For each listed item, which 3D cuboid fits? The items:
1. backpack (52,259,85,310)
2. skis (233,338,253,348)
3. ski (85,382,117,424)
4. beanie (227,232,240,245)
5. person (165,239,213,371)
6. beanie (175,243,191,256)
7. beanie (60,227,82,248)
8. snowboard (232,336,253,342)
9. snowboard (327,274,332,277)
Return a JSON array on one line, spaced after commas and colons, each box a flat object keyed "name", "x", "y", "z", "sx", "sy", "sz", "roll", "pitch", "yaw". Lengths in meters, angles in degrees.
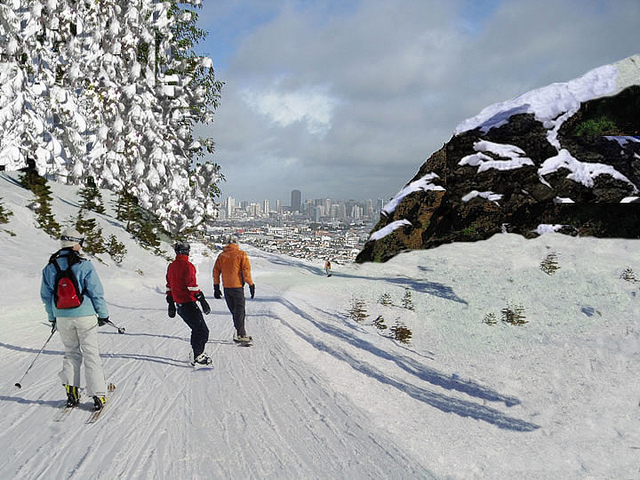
[{"name": "backpack", "x": -5.478, "y": 1.000, "z": 9.943, "sx": 0.708, "sy": 1.024, "sz": 0.253, "roll": 10, "pitch": 13, "yaw": 13}, {"name": "skis", "x": -2.184, "y": 2.939, "z": 13.157, "sx": 0.546, "sy": 0.232, "sz": 0.185, "roll": 5, "pitch": 3, "yaw": 19}, {"name": "ski", "x": -4.838, "y": 3.665, "z": 10.289, "sx": 0.132, "sy": 0.096, "sz": 0.918, "roll": -10, "pitch": 39, "yaw": 31}, {"name": "beanie", "x": -2.414, "y": -0.046, "z": 12.903, "sx": 0.287, "sy": 0.279, "sz": 0.409, "roll": 9, "pitch": 13, "yaw": 7}, {"name": "person", "x": -3.358, "y": 1.673, "z": 11.816, "sx": 1.497, "sy": 2.970, "sz": 1.054, "roll": 0, "pitch": 1, "yaw": -37}, {"name": "beanie", "x": -3.387, "y": 0.206, "z": 11.303, "sx": 0.266, "sy": 0.301, "sz": 0.307, "roll": 7, "pitch": 14, "yaw": 24}, {"name": "beanie", "x": -5.505, "y": -0.026, "z": 10.187, "sx": 0.375, "sy": 0.479, "sz": 0.447, "roll": -1, "pitch": 15, "yaw": -31}, {"name": "snowboard", "x": -2.196, "y": 2.827, "z": 13.165, "sx": 0.451, "sy": 0.196, "sz": 0.168, "roll": -4, "pitch": -6, "yaw": 2}, {"name": "snowboard", "x": 0.505, "y": 2.193, "z": 28.302, "sx": 0.202, "sy": 0.213, "sz": 0.143, "roll": -2, "pitch": -7, "yaw": 2}]
